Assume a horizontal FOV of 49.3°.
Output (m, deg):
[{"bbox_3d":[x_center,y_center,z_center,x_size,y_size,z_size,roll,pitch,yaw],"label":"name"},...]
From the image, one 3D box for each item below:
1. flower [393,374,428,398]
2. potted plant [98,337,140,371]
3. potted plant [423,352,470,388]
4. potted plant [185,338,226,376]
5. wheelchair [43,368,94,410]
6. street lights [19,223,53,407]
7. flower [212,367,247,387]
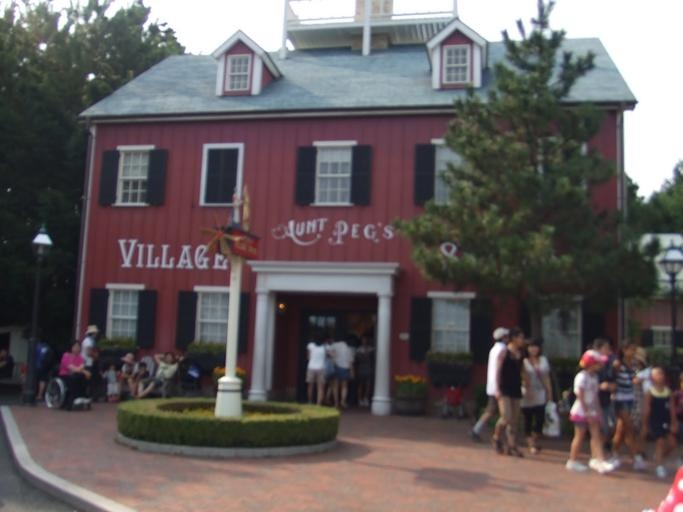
[{"bbox_3d":[1.771,3.364,19.299,0.607,0.472,0.620,3,-8,-5],"label":"flower"},{"bbox_3d":[-6.261,2.795,20.839,0.835,0.430,0.876,-1,29,-8],"label":"potted plant"},{"bbox_3d":[2.930,3.027,19.668,1.209,0.940,0.857,-4,-12,34],"label":"potted plant"},{"bbox_3d":[-3.669,2.718,20.326,0.871,0.410,0.878,18,-13,-28],"label":"potted plant"},{"bbox_3d":[-6.577,3.334,18.032,0.952,0.855,0.741,-3,-9,32],"label":"wheelchair"},{"bbox_3d":[-7.871,1.532,19.355,0.750,4.470,0.718,6,-7,-32],"label":"street lights"},{"bbox_3d":[-2.973,3.160,19.995,0.714,0.339,0.733,0,-11,6],"label":"flower"}]
